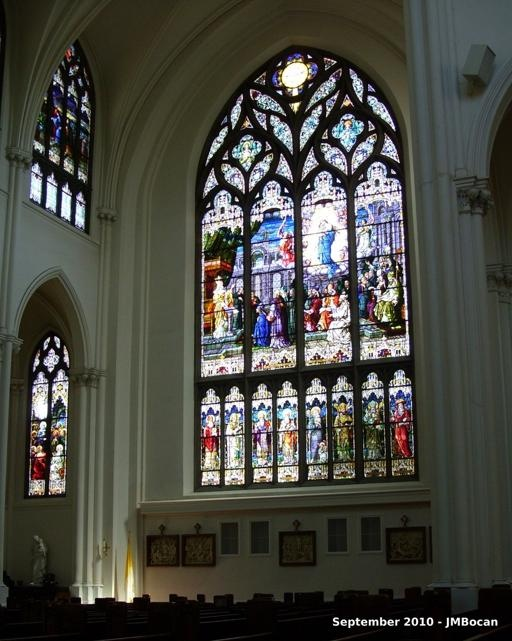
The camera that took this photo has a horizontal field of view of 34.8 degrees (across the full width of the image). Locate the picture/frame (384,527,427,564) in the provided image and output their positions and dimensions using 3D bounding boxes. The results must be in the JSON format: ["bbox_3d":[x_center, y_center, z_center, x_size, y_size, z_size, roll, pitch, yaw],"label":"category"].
[{"bbox_3d":[2.501,3.731,13.490,0.537,0.550,0.060,-6,-28,20],"label":"picture/frame"}]

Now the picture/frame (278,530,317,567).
[{"bbox_3d":[0.749,4.019,14.349,0.585,0.587,0.055,-7,-29,18],"label":"picture/frame"}]
